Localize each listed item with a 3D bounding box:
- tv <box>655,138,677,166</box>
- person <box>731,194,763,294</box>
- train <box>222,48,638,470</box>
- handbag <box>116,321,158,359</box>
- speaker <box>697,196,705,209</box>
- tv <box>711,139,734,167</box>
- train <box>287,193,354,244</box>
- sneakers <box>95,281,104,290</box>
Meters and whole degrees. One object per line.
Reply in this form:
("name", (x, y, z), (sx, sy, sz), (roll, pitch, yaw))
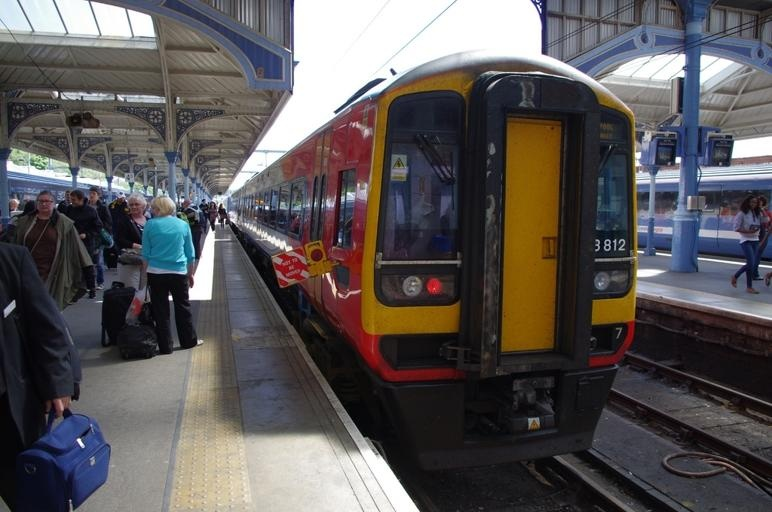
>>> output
("tv", (7.473, -2.780, 14.705), (0.545, 0.841, 0.653), (1, -1, -4))
("person", (7.772, -0.258, 11.734), (0.555, 2.047, 1.456), (9, 13, 34))
("train", (0.499, -0.094, 5.840), (3.588, 3.931, 2.309), (12, 15, 43))
("handbag", (-3.254, 1.069, 7.219), (0.395, 0.550, 0.544), (-1, 3, -3))
("speaker", (8.042, -1.346, 13.974), (0.105, 0.348, 0.380), (11, 14, 42))
("tv", (9.421, -2.894, 15.276), (0.867, 0.715, 0.273), (-6, 13, -36))
("train", (-0.845, -0.509, 6.949), (0.445, 0.697, 2.452), (-1, 7, -16))
("sneakers", (-5.762, 0.586, 10.912), (0.173, 0.197, 0.473), (2, -2, -30))
